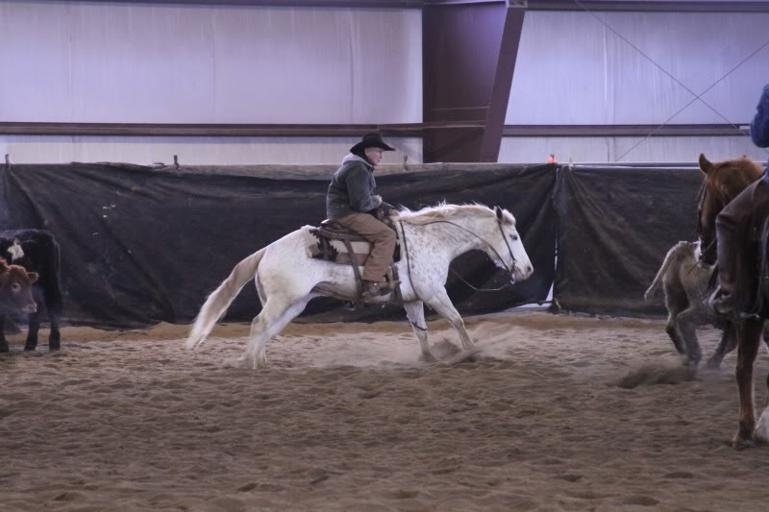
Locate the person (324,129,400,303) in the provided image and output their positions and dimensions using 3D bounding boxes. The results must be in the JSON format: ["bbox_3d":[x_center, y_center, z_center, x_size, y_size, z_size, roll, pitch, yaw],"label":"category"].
[{"bbox_3d":[-0.347,-0.587,19.567,0.974,2.475,0.935,-5,21,-12],"label":"person"}]

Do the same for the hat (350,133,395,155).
[{"bbox_3d":[-0.131,-1.696,19.620,0.498,0.156,0.401,1,-1,-35],"label":"hat"}]
